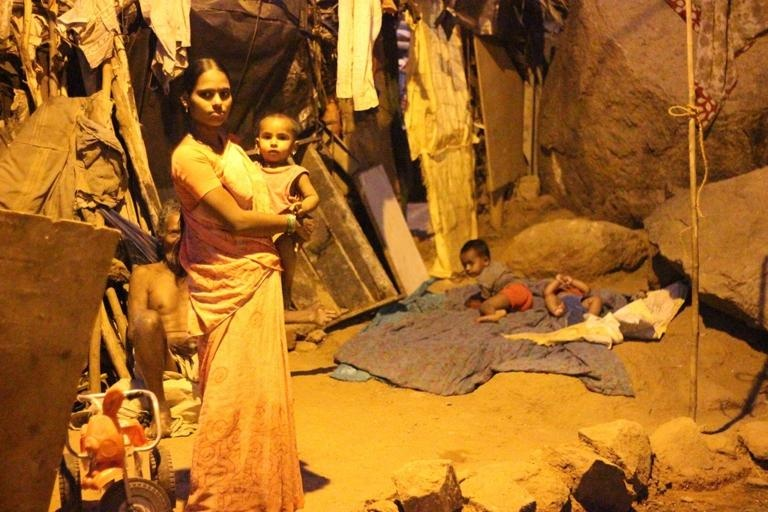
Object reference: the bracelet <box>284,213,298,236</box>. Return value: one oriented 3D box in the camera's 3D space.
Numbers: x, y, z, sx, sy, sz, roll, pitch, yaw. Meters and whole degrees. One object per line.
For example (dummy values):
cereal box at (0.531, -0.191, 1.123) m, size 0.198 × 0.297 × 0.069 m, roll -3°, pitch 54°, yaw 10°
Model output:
bracelet at (-0.746, -0.265, 7.762) m, size 0.109 × 0.133 × 0.094 m, roll -45°, pitch -16°, yaw 19°

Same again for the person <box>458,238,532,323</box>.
person at (1.254, 0.393, 11.687) m, size 0.855 × 1.069 × 1.079 m, roll -8°, pitch 2°, yaw 17°
